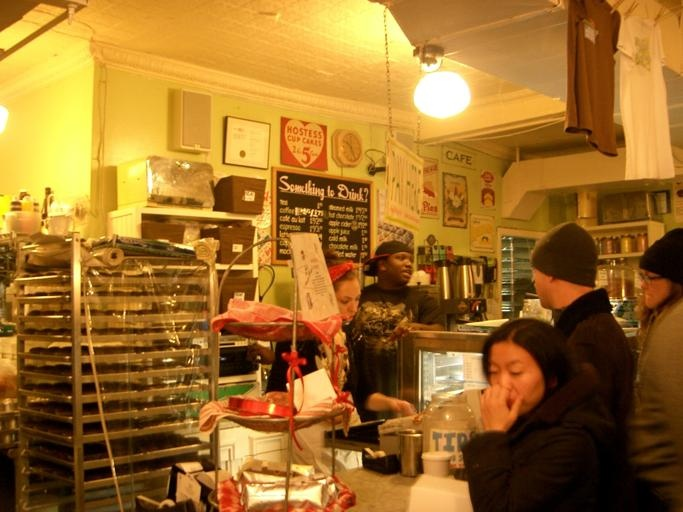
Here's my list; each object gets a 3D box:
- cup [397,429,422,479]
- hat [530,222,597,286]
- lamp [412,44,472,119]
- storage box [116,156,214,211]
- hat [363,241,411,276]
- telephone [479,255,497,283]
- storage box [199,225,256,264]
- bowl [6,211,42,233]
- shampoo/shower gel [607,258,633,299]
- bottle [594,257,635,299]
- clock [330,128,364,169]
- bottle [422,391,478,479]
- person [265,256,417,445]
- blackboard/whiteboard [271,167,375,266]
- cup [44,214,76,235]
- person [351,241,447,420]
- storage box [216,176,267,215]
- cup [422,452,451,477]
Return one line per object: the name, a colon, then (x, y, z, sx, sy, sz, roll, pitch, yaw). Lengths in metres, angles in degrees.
cup: (0.286, 0.766, 2.168, 0.071, 0.170, 0.134, 4, -11, -36)
hat: (0.909, -0.020, 2.311, 0.285, 0.240, 0.299, -1, 4, -38)
lamp: (0.621, -1.214, 3.960, 0.399, 0.488, 0.385, 5, 0, -44)
storage box: (-1.336, -0.543, 4.201, 0.726, 0.386, 0.456, -1, -8, -10)
hat: (0.336, 0.003, 4.259, 0.350, 0.157, 0.248, -6, -13, 11)
telephone: (1.878, 0.161, 7.177, 0.138, 0.383, 0.685, -7, -9, 25)
storage box: (-0.893, -0.032, 4.401, 0.283, 0.242, 0.362, -17, -14, 42)
bowl: (-2.314, -0.254, 4.096, 0.232, 0.203, 0.221, -2, -8, 0)
shampoo/shower gel: (2.731, 0.252, 5.398, 0.298, 0.304, 0.287, -1, -4, 13)
bottle: (2.433, 0.199, 4.961, 0.389, 0.403, 0.372, 1, -7, 5)
clock: (0.059, -1.122, 5.810, 0.343, 0.403, 0.110, 4, -11, -37)
bottle: (0.393, 0.645, 2.077, 0.224, 0.288, 0.174, 1, 0, 3)
person: (-0.011, 0.400, 2.783, 0.667, 0.820, 0.679, 0, -6, 15)
blackboard/whiteboard: (-0.161, -0.379, 5.615, 0.067, 0.908, 1.405, -8, -9, 43)
cup: (-2.172, -0.250, 4.359, 0.222, 0.151, 0.217, 2, -3, 0)
person: (0.338, 0.683, 4.021, 0.641, 1.472, 0.584, 1, 12, 0)
storage box: (-0.821, -0.504, 4.582, 0.360, 0.308, 0.351, 2, 8, -26)
cup: (0.329, 0.716, 1.937, 0.081, 0.048, 0.079, 1, -1, 0)
